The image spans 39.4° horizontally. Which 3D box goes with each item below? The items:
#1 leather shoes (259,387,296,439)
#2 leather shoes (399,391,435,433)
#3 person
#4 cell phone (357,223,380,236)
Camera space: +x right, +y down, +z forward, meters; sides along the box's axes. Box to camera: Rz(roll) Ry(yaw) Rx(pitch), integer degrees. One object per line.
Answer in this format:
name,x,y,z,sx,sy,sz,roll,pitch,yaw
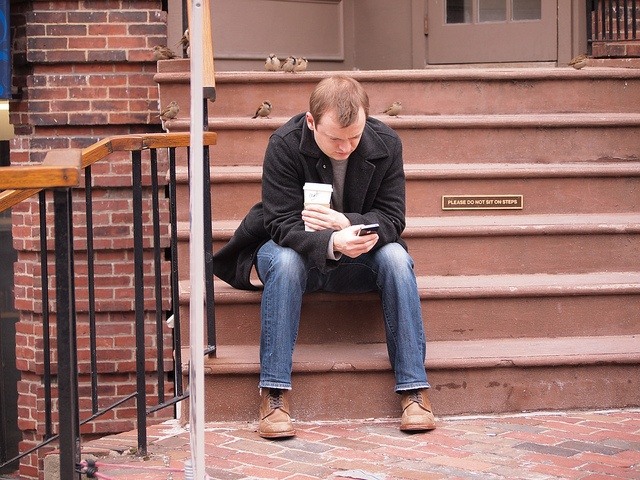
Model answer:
leather shoes,-0.221,0.893,4.672,0.189,0.254,0.224,-2,9,-4
leather shoes,0.511,0.888,4.654,0.161,0.189,0.129,-1,9,5
person,0.035,0.064,4.798,1.042,1.846,0.767,-2,9,-6
cell phone,0.260,-0.047,4.613,0.118,0.054,0.051,-7,10,-34
